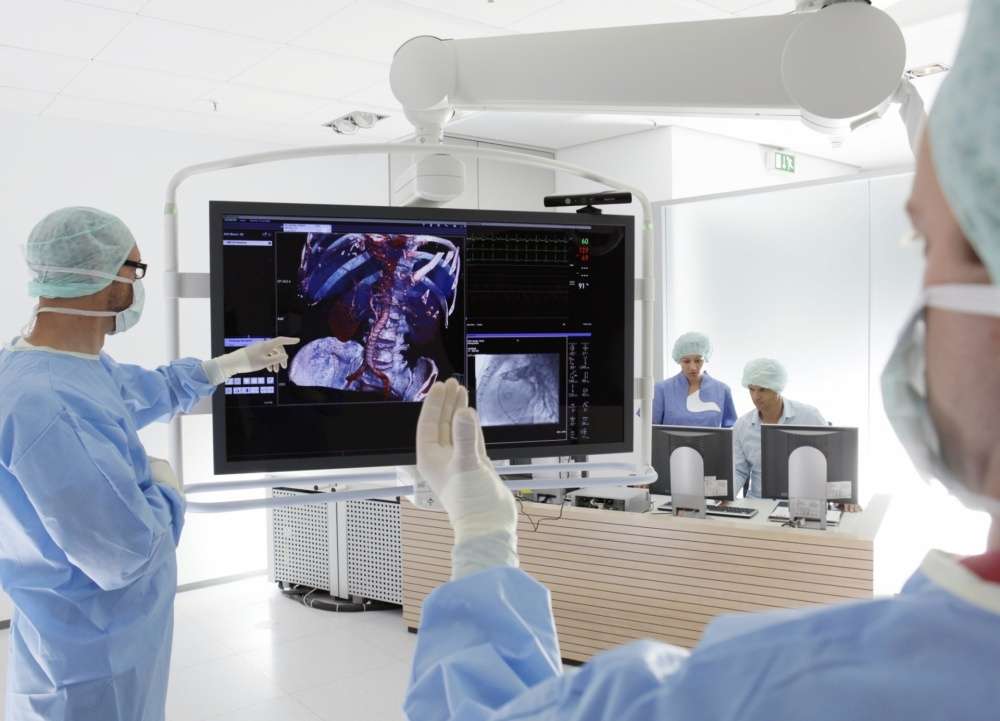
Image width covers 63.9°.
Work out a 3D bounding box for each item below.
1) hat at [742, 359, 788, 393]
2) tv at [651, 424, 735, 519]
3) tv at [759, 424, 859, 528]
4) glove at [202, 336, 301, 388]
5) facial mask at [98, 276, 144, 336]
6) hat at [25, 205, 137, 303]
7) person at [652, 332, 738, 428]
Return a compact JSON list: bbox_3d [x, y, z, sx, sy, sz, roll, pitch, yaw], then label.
[{"bbox_3d":[1.398,0.064,4.230,0.163,0.160,0.200,5,12,26],"label":"hat"},{"bbox_3d":[0.816,0.468,3.370,0.465,0.472,0.166,2,11,16],"label":"tv"},{"bbox_3d":[1.262,0.468,3.264,0.374,0.379,0.125,2,8,25],"label":"tv"},{"bbox_3d":[-0.555,-0.001,1.823,0.193,0.103,0.070,-1,4,6],"label":"glove"},{"bbox_3d":[-1.097,-0.148,2.317,0.146,0.127,0.124,2,14,1],"label":"facial mask"},{"bbox_3d":[-1.151,-0.309,2.247,0.238,0.258,0.323,3,8,33],"label":"hat"},{"bbox_3d":[1.238,0.133,5.006,0.570,0.784,0.295,0,-4,6],"label":"person"}]
